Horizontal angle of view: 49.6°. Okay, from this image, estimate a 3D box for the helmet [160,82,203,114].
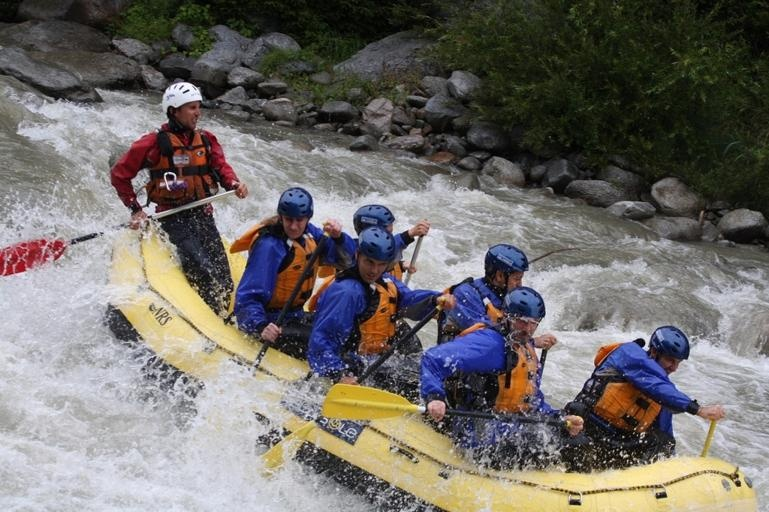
[{"bbox_3d":[-2.574,-2.108,10.556,0.342,0.468,0.362,-23,76,-31],"label":"helmet"}]

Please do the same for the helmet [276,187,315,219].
[{"bbox_3d":[-1.049,-0.608,9.855,0.318,0.371,0.400,7,-10,-2],"label":"helmet"}]

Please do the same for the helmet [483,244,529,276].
[{"bbox_3d":[1.471,0.012,9.992,0.433,0.357,0.336,8,8,4],"label":"helmet"}]

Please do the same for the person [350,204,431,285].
[{"bbox_3d":[-0.107,-0.175,10.453,0.934,0.559,1.629,-6,20,22],"label":"person"}]

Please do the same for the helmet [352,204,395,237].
[{"bbox_3d":[-0.121,-0.459,10.159,0.440,0.346,0.306,9,12,2],"label":"helmet"}]
